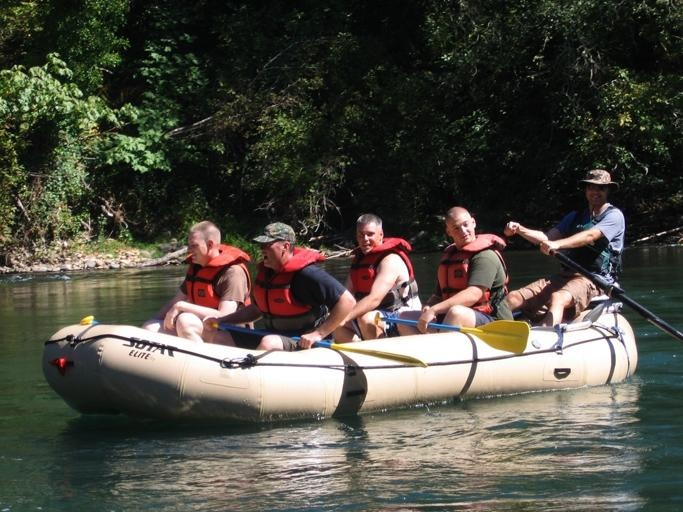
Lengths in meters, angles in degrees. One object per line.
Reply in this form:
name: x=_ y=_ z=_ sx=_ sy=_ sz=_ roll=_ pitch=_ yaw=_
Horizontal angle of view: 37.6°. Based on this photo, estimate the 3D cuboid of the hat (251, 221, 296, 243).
hat: x=-0.601 y=-0.218 z=8.957 sx=0.343 sy=0.134 sz=0.195 roll=4 pitch=-7 yaw=-8

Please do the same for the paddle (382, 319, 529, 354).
paddle: x=1.114 y=0.684 z=9.523 sx=0.143 sy=0.226 sz=1.352 roll=-5 pitch=4 yaw=-42

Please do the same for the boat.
boat: x=0.097 y=1.068 z=9.155 sx=4.196 sy=0.651 sz=1.696 roll=1 pitch=-6 yaw=-20

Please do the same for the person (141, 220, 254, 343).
person: x=-1.363 y=0.260 z=9.417 sx=1.030 sy=1.058 sz=1.055 roll=12 pitch=20 yaw=35

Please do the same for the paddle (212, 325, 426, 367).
paddle: x=-0.255 y=0.812 z=8.999 sx=1.557 sy=0.063 sz=0.090 roll=11 pitch=-34 yaw=-2
